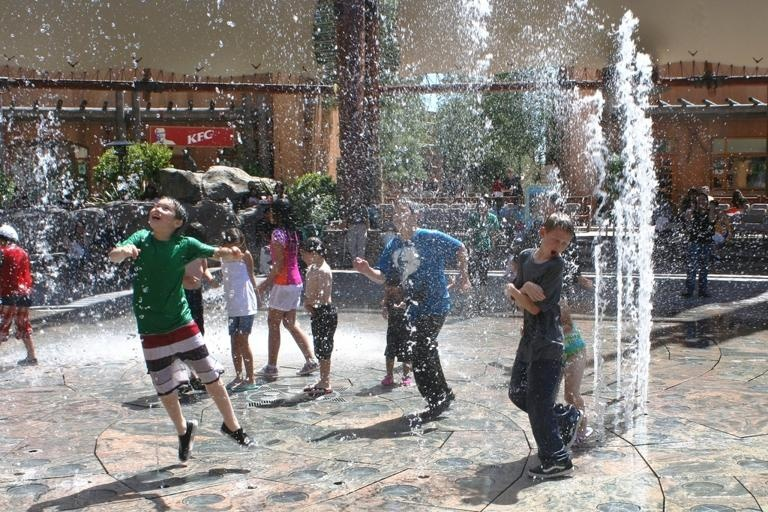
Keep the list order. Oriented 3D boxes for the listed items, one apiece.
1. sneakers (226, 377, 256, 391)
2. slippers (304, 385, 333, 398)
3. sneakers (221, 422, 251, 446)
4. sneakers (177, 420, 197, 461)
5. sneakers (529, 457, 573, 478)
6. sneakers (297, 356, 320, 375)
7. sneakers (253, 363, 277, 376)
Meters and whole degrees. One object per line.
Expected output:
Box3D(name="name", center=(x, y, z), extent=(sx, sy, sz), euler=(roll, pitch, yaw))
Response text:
Box3D(name="sneakers", center=(-1.770, 1.602, 9.824), extent=(0.333, 0.147, 0.150), euler=(4, -5, 3))
Box3D(name="slippers", center=(-0.795, 1.646, 9.657), extent=(0.336, 0.158, 0.136), euler=(-5, 11, 2))
Box3D(name="sneakers", center=(-1.574, 1.898, 8.365), extent=(0.106, 0.281, 0.095), euler=(-43, 10, 39))
Box3D(name="sneakers", center=(-2.021, 1.913, 8.197), extent=(0.167, 0.451, 0.153), euler=(15, -10, -35))
Box3D(name="sneakers", center=(1.663, 2.138, 7.962), extent=(0.432, 0.219, 0.174), euler=(0, -2, -3))
Box3D(name="sneakers", center=(-0.977, 1.459, 10.336), extent=(0.139, 0.138, 0.298), euler=(-5, -9, -39))
Box3D(name="sneakers", center=(-1.533, 1.482, 10.246), extent=(0.246, 0.131, 0.123), euler=(4, -1, 2))
